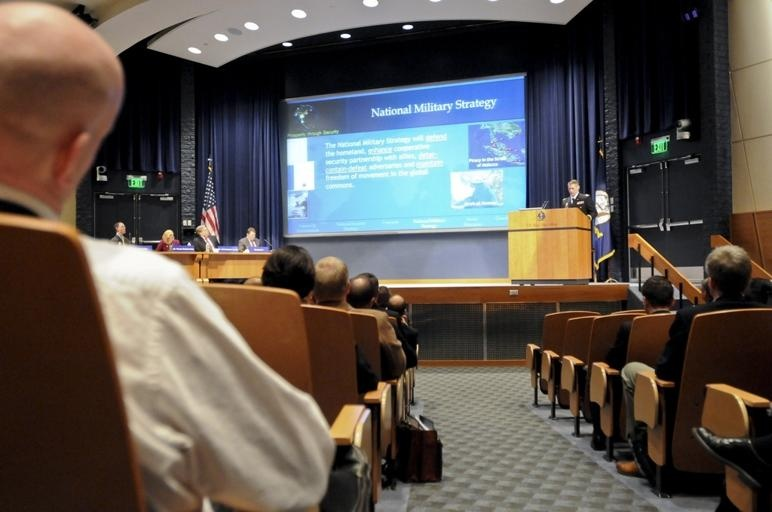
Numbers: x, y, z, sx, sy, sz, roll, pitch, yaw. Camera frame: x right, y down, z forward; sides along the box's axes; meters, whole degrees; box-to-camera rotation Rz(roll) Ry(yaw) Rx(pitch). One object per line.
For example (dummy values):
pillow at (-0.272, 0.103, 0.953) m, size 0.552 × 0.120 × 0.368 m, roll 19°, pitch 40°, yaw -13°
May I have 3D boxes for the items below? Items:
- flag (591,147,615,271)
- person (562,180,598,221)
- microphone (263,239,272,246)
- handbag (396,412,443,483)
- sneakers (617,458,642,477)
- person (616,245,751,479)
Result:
flag at (3.335, -0.657, 9.142) m, size 0.311 × 1.976 × 0.622 m, roll -2°, pitch -1°, yaw 22°
person at (2.636, -0.766, 8.043) m, size 0.377 × 0.524 × 0.732 m, roll -2°, pitch -2°, yaw 14°
microphone at (-2.309, -0.240, 11.390) m, size 0.133 × 0.098 × 0.147 m, roll 0°, pitch -16°, yaw 1°
handbag at (0.190, 0.955, 3.292) m, size 0.218 × 0.337 × 0.427 m, roll 0°, pitch -1°, yaw 4°
sneakers at (1.326, 1.147, 3.249) m, size 0.060 × 0.062 × 0.134 m, roll 3°, pitch -11°, yaw -31°
person at (1.466, 0.549, 2.976) m, size 0.465 × 1.237 × 0.622 m, roll 4°, pitch 3°, yaw -13°
